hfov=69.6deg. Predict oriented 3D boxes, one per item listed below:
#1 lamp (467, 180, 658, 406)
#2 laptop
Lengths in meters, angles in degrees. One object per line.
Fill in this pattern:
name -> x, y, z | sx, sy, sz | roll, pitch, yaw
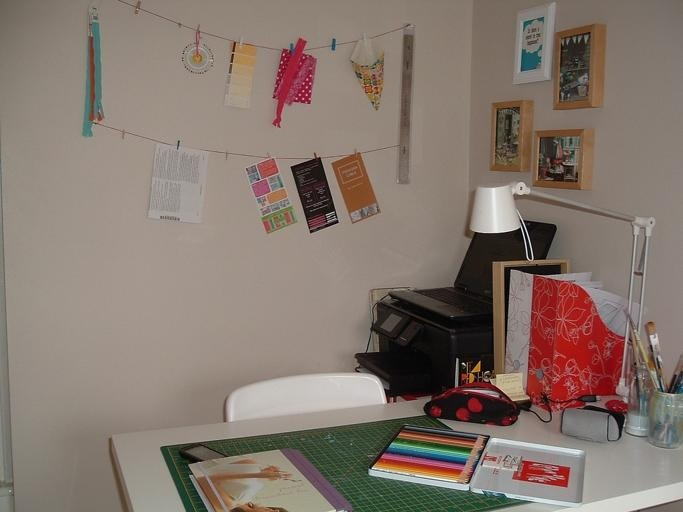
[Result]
lamp -> 0.809, 0.092, 1.771 | 0.491, 0.720, 0.785 | 7, 13, 32
laptop -> 0.595, 0.059, 2.243 | 0.510, 0.324, 0.519 | -2, 5, -21
